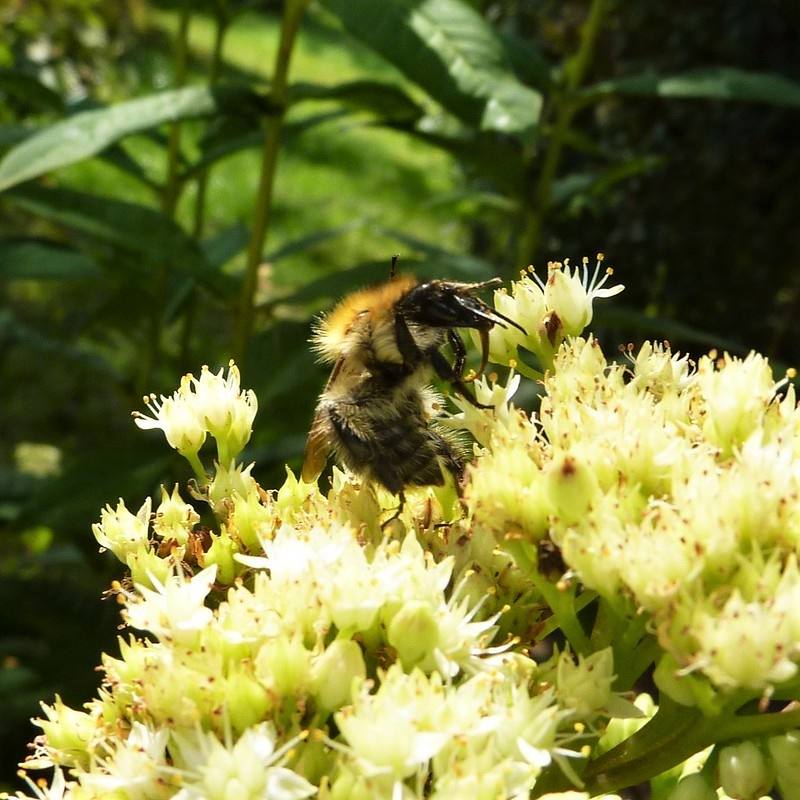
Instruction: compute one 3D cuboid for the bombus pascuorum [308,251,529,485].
[{"bbox_3d":[-0.002,-0.003,1.448,0.203,0.177,0.346,3,-37,-45],"label":"bombus pascuorum"}]
